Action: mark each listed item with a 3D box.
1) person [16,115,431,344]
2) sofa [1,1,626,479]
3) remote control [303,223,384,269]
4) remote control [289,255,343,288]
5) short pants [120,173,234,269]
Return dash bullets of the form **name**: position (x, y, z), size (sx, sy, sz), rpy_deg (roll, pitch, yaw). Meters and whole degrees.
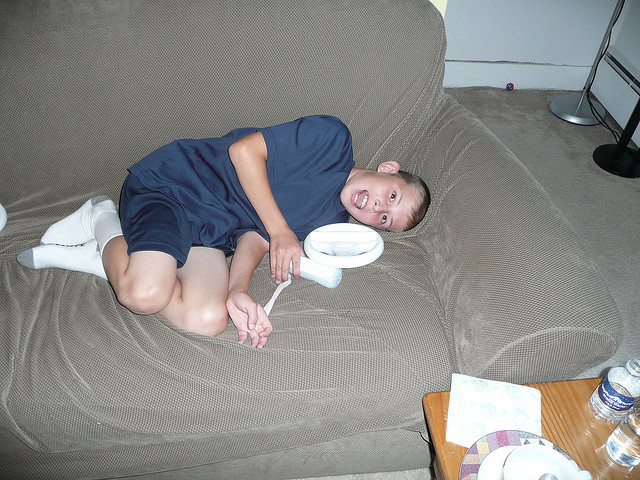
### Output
- **person**: position (-0.273, 0.006, 1.595), size (1.142, 0.532, 0.638), rpy_deg (-11, 63, -32)
- **sofa**: position (-0.238, 0.399, 2.227), size (2.213, 1.135, 1.392), rpy_deg (-2, 61, -7)
- **remote control**: position (0.043, 0.021, 1.512), size (0.208, 0.216, 0.065), rpy_deg (5, 73, 37)
- **remote control**: position (-0.009, 0.093, 1.403), size (0.164, 0.060, 0.057), rpy_deg (22, 98, 23)
- **short pants**: position (-0.415, -0.007, 1.514), size (0.382, 0.295, 0.225), rpy_deg (30, 97, 55)
